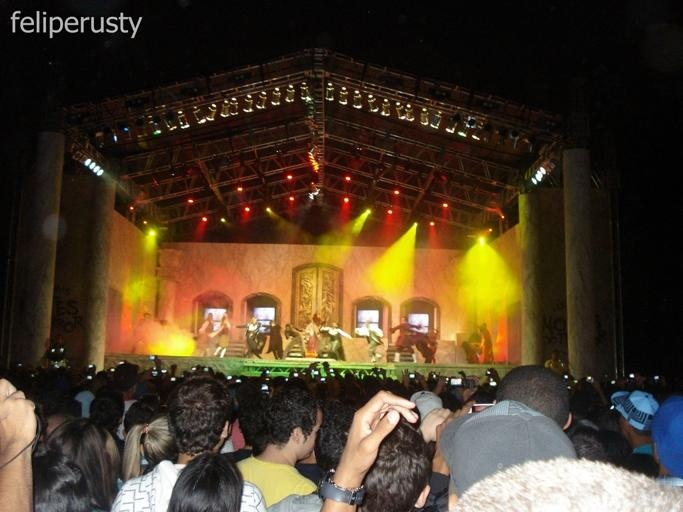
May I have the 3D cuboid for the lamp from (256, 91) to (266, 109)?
[{"bbox_3d":[-2.157,-4.179,15.151,0.271,0.663,0.279,-12,-54,9],"label":"lamp"}]

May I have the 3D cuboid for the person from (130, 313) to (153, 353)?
[{"bbox_3d":[-7.240,2.872,20.561,0.633,1.327,1.124,8,-16,-18],"label":"person"}]

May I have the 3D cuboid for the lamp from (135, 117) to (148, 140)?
[{"bbox_3d":[-5.189,-3.296,14.778,0.303,0.311,0.551,2,-2,1],"label":"lamp"}]

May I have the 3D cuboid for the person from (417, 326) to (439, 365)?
[{"bbox_3d":[3.065,3.340,20.633,0.785,1.138,0.377,1,-13,-16],"label":"person"}]

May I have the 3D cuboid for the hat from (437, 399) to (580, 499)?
[{"bbox_3d":[0.607,0.714,2.191,0.399,0.198,0.577,-6,4,20],"label":"hat"}]

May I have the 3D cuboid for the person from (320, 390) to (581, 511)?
[{"bbox_3d":[0.389,0.656,2.105,0.813,0.544,0.436,-12,-60,25],"label":"person"}]

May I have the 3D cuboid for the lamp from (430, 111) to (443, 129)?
[{"bbox_3d":[2.472,-3.584,14.944,0.196,0.389,0.257,5,-55,10],"label":"lamp"}]

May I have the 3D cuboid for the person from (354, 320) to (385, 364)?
[{"bbox_3d":[0.959,3.107,19.975,1.010,1.240,0.765,10,-17,-15],"label":"person"}]

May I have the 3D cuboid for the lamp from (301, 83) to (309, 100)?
[{"bbox_3d":[-0.995,-4.415,15.249,0.212,0.234,0.436,11,22,-9],"label":"lamp"}]

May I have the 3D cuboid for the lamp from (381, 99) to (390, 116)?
[{"bbox_3d":[1.181,-3.962,15.230,0.197,0.200,0.224,3,-35,5],"label":"lamp"}]

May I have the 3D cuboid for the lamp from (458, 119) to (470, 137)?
[{"bbox_3d":[3.189,-3.303,14.749,0.219,0.268,0.437,7,9,14],"label":"lamp"}]

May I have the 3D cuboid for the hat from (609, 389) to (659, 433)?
[{"bbox_3d":[2.054,1.066,3.980,0.316,0.172,0.207,11,17,27],"label":"hat"}]

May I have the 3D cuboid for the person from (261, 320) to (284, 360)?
[{"bbox_3d":[-2.357,2.909,20.149,0.650,1.433,0.497,-11,32,-13],"label":"person"}]

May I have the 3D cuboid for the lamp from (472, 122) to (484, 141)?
[{"bbox_3d":[3.471,-3.193,14.587,0.222,0.295,0.518,5,25,12],"label":"lamp"}]

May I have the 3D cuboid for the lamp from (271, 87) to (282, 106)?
[{"bbox_3d":[-1.767,-4.290,15.246,0.214,0.248,0.227,-2,-57,0],"label":"lamp"}]

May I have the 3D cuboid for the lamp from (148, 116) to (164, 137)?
[{"bbox_3d":[-4.774,-3.376,14.628,0.349,0.365,0.650,3,6,-17],"label":"lamp"}]

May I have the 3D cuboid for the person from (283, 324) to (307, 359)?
[{"bbox_3d":[-1.689,3.222,20.810,0.837,1.142,1.863,4,-16,-3],"label":"person"}]

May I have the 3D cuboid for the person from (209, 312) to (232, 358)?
[{"bbox_3d":[-4.796,3.158,22.299,0.510,1.558,0.483,4,-53,-4],"label":"person"}]

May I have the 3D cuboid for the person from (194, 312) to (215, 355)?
[{"bbox_3d":[-5.371,3.085,22.327,0.678,1.681,0.933,7,-16,-13],"label":"person"}]
